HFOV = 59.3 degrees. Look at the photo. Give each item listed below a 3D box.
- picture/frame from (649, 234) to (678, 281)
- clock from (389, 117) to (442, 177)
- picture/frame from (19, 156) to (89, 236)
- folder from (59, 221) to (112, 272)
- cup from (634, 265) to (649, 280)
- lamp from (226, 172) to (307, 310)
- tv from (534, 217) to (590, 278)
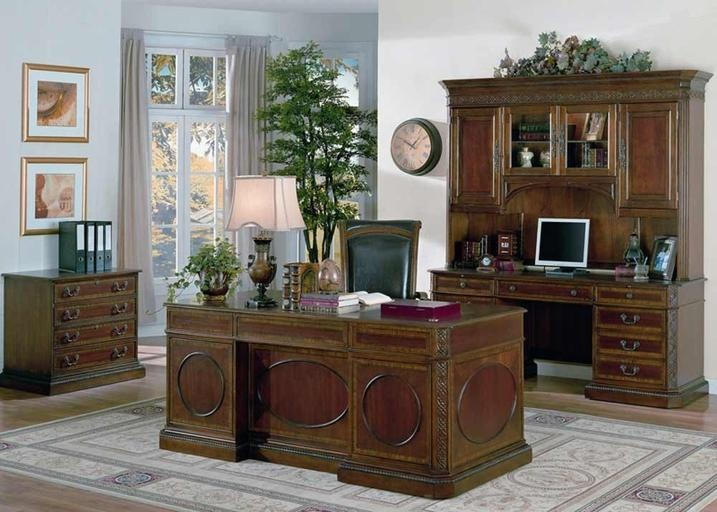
[{"bbox_3d":[2.619,0.012,5.405,0.184,0.362,0.221,-1,3,-23],"label":"picture/frame"},{"bbox_3d":[0.619,-1.161,6.649,0.663,0.650,0.154,1,2,38],"label":"clock"},{"bbox_3d":[-2.978,-0.582,6.085,0.061,0.860,0.792,3,5,43],"label":"picture/frame"},{"bbox_3d":[-2.638,-0.092,5.968,0.512,0.482,0.398,0,3,-8],"label":"folder"},{"bbox_3d":[2.437,0.133,5.408,0.132,0.136,0.133,1,0,0],"label":"cup"},{"bbox_3d":[-0.614,-0.115,4.151,0.503,0.860,0.489,-1,3,-11],"label":"lamp"},{"bbox_3d":[1.905,-0.079,5.851,0.562,0.586,0.202,1,-1,29],"label":"tv"}]
